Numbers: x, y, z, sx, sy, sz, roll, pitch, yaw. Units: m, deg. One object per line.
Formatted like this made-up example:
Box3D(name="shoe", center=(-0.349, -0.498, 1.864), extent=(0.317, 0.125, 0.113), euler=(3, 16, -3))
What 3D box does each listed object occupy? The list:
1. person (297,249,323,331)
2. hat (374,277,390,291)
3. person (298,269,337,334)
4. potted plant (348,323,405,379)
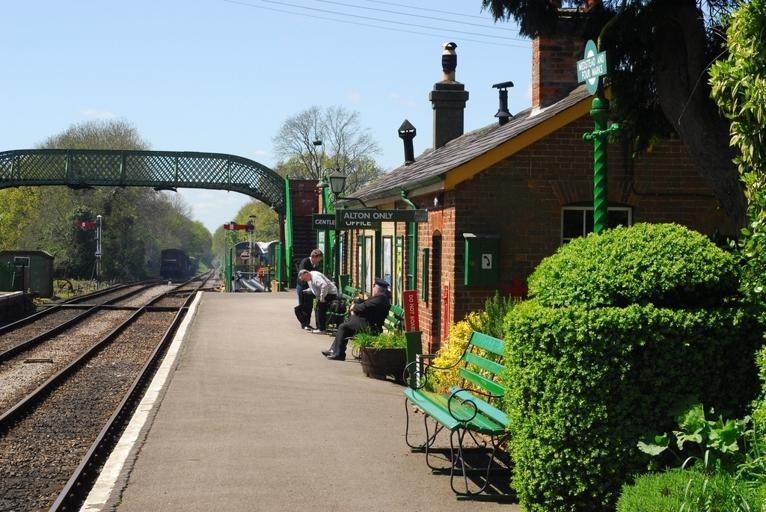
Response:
Box3D(name="person", center=(-1.647, 0.716, 20.108), extent=(0.566, 1.827, 0.558), euler=(0, 5, -37))
Box3D(name="hat", center=(-0.028, 0.521, 15.672), extent=(0.224, 0.197, 0.525), euler=(-5, 4, 2))
Box3D(name="person", center=(-1.408, 0.972, 19.054), extent=(0.808, 1.418, 0.686), euler=(-5, -6, 5))
Box3D(name="potted plant", center=(0.057, 1.719, 14.756), extent=(0.967, 0.664, 1.044), euler=(7, -8, -37))
